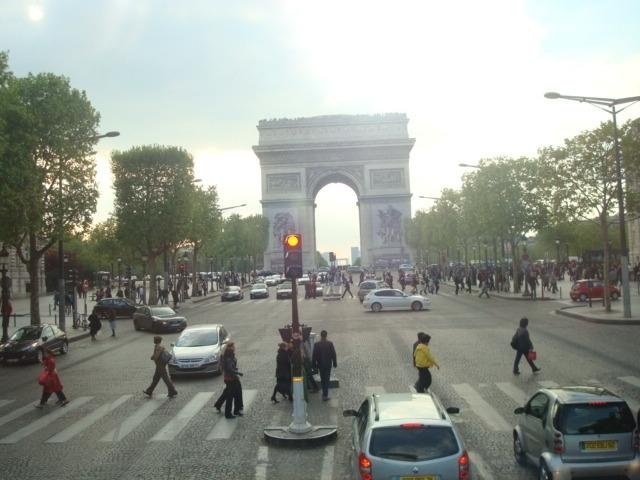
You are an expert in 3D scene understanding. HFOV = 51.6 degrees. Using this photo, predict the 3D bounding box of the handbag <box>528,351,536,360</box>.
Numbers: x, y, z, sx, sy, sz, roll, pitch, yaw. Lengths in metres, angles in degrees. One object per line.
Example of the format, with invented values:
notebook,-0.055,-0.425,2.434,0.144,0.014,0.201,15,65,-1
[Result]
handbag,6.762,3.687,21.204,0.208,0.325,0.174,-5,-29,10

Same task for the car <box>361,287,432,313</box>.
car,5.038,4.157,45.193,3.653,1.431,1.902,-1,-2,1

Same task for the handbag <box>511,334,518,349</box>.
handbag,6.421,3.345,21.858,0.192,0.444,0.486,-3,-3,16

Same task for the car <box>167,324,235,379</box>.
car,-4.321,3.999,23.808,1.736,1.408,3.922,0,-2,-2
